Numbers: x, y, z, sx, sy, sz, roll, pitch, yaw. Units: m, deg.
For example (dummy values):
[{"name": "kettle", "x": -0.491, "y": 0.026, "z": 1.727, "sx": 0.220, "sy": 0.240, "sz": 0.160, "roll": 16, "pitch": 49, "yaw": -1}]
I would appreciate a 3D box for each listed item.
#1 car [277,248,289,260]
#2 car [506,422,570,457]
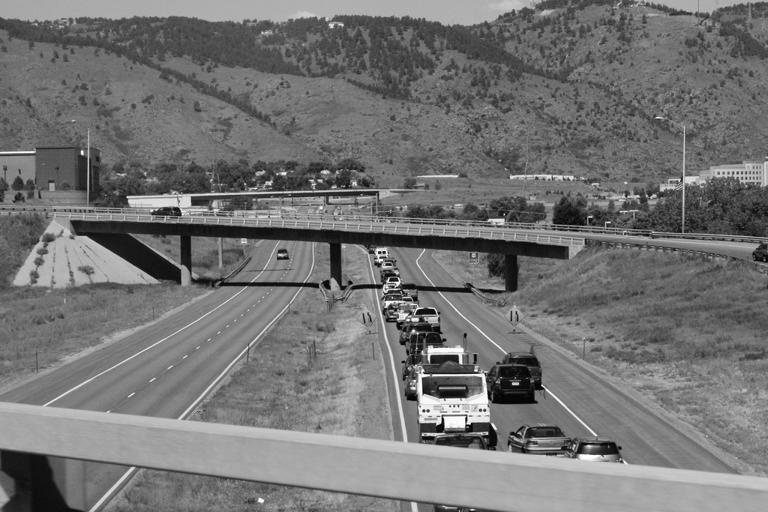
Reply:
[{"name": "car", "x": -18.596, "y": -0.052, "z": 221.360, "sx": 2.243, "sy": 1.498, "sz": 4.450, "roll": -1, "pitch": 6, "yaw": -5}, {"name": "car", "x": 16.956, "y": 20.117, "z": 129.300, "sx": 6.355, "sy": 2.734, "sz": 2.521, "roll": 1, "pitch": 5, "yaw": 12}]
